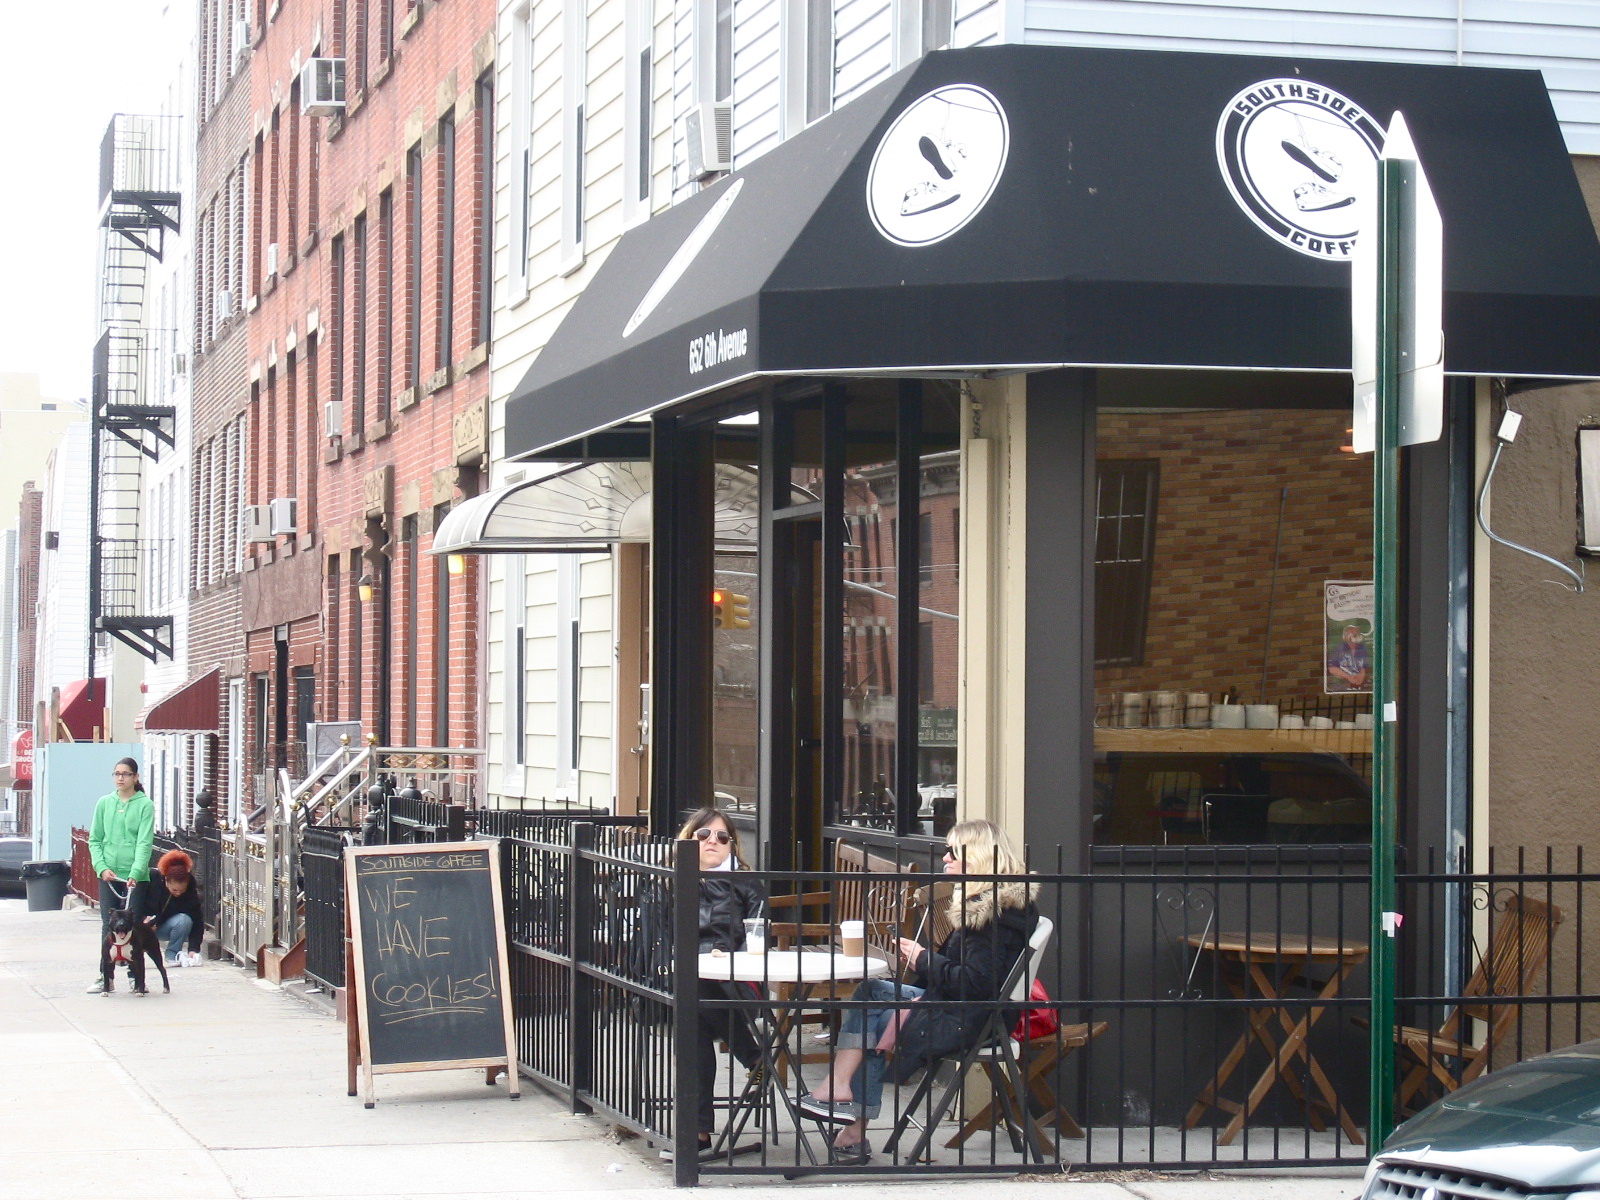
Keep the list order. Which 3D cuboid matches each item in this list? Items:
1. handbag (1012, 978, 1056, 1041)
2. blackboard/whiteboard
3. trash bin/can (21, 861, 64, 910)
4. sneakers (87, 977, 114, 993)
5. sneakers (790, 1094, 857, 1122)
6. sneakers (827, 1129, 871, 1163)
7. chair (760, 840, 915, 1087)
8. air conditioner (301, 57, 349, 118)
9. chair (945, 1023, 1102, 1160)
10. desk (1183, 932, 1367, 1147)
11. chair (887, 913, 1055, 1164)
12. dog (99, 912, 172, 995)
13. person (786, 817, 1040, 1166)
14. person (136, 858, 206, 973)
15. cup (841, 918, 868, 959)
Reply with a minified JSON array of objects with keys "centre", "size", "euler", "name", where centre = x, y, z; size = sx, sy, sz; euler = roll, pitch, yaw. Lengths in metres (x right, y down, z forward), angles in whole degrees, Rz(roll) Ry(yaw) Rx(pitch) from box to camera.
[{"centre":[1.210,2.148,14.137],"size":[0.225,0.349,0.323],"euler":[1,2,-6],"name":"handbag"},{"centre":[-2.170,2.203,15.980],"size":[0.942,1.589,0.868],"euler":[-3,-16,-12],"name":"blackboard/whiteboard"},{"centre":[-10.189,3.890,37.078],"size":[0.582,0.622,0.596],"euler":[0,-2,-28],"name":"trash bin/can"},{"centre":[-5.622,3.136,22.063],"size":[0.130,0.167,0.392],"euler":[2,1,-23],"name":"sneakers"},{"centre":[0.118,2.616,13.988],"size":[0.321,0.106,0.121],"euler":[7,-6,20],"name":"sneakers"},{"centre":[0.253,2.810,13.967],"size":[0.197,0.178,0.303],"euler":[-1,-7,5],"name":"sneakers"},{"centre":[0.219,2.008,14.696],"size":[0.482,0.985,1.305],"euler":[2,-6,-9],"name":"chair"},{"centre":[-5.363,-5.853,30.949],"size":[0.434,0.654,0.504],"euler":[2,-7,-20],"name":"air conditioner"},{"centre":[1.182,2.601,14.403],"size":[0.775,0.623,0.862],"euler":[2,-18,-7],"name":"chair"},{"centre":[2.771,2.249,15.095],"size":[0.709,1.000,1.338],"euler":[1,10,13],"name":"desk"},{"centre":[0.888,2.299,14.271],"size":[0.894,1.262,1.257],"euler":[0,-6,5],"name":"chair"},{"centre":[-5.474,2.897,22.146],"size":[0.292,0.596,1.031],"euler":[1,-15,-10],"name":"dog"},{"centre":[0.604,2.041,14.225],"size":[1.100,1.837,0.777],"euler":[9,-1,-12],"name":"person"},{"centre":[-5.461,2.684,23.891],"size":[0.535,1.128,0.867],"euler":[-2,11,-19],"name":"person"},{"centre":[0.268,1.736,13.925],"size":[0.132,0.175,0.148],"euler":[-2,-7,18],"name":"cup"}]
